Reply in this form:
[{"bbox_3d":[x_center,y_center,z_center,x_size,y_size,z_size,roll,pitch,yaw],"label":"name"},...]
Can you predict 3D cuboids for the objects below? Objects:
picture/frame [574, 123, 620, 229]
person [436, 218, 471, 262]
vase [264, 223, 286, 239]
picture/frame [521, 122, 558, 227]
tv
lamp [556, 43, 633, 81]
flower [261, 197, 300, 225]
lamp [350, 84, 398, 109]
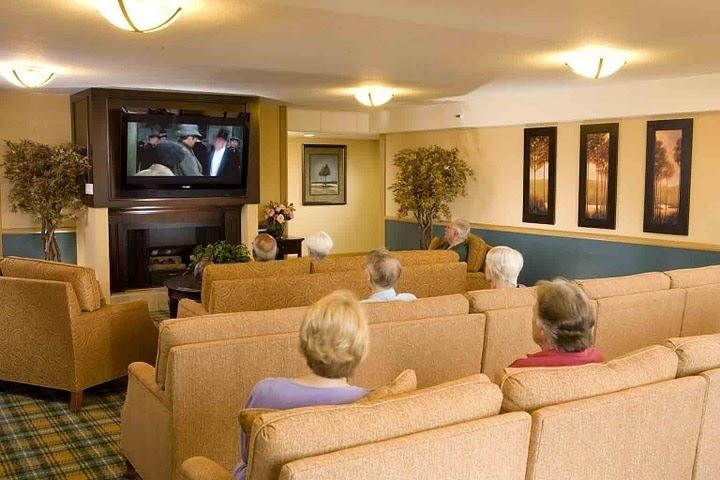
[{"bbox_3d":[3.371,-0.908,7.345,0.129,1.443,0.585,-8,10,-40],"label":"picture/frame"},{"bbox_3d":[1.260,-0.020,7.000,0.359,0.535,0.762,7,18,-5],"label":"person"},{"bbox_3d":[-1.417,-0.172,8.612,0.310,0.331,0.280,-5,16,1],"label":"vase"},{"bbox_3d":[2.775,-1.002,8.026,0.144,1.472,0.581,-8,10,-40],"label":"picture/frame"},{"bbox_3d":[-2.572,-1.302,7.618,1.800,1.156,0.274,-4,8,-25],"label":"tv"},{"bbox_3d":[2.462,-1.849,5.377,0.729,0.192,0.616,1,7,13],"label":"lamp"},{"bbox_3d":[-1.375,-0.463,8.592,0.462,0.374,0.572,-4,8,-22],"label":"flower"},{"bbox_3d":[0.156,-2.041,7.297,0.362,0.140,0.365,-3,-2,38],"label":"lamp"}]
